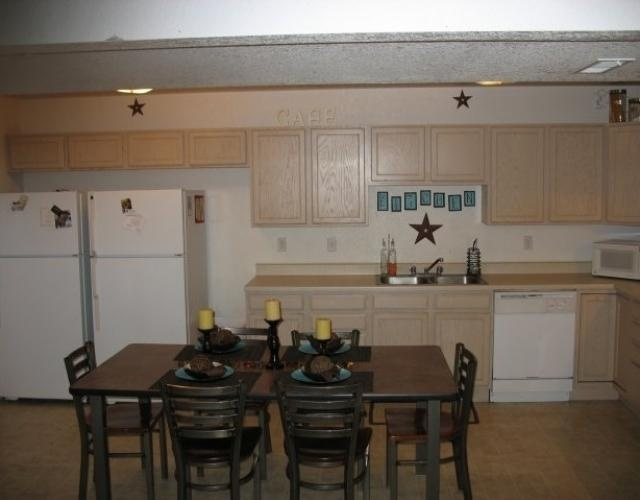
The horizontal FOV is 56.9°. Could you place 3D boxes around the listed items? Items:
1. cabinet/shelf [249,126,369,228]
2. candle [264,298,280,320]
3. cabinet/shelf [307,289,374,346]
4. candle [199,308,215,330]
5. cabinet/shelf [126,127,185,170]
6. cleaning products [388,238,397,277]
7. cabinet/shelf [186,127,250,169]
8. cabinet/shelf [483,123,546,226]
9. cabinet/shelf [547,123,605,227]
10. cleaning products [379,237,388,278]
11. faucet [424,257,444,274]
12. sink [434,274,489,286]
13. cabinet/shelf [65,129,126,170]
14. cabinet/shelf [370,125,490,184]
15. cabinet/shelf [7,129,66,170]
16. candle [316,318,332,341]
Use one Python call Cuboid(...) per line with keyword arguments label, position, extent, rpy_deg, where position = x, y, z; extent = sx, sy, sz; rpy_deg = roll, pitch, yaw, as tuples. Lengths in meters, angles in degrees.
Cuboid(label="cabinet/shelf", position=(-0.066, -0.607, 4.618), extent=(0.778, 0.634, 0.249), rpy_deg=(0, 5, 3))
Cuboid(label="candle", position=(-0.238, 0.307, 3.055), extent=(0.092, 0.101, 0.091), rpy_deg=(2, -1, -8))
Cuboid(label="cabinet/shelf", position=(0.150, 0.447, 4.092), extent=(0.423, 0.385, 0.148), rpy_deg=(0, 0, 1))
Cuboid(label="candle", position=(-0.614, 0.375, 3.177), extent=(0.080, 0.113, 0.090), rpy_deg=(-1, -2, -13))
Cuboid(label="cabinet/shelf", position=(-1.309, -0.809, 4.720), extent=(0.537, 0.334, 0.270), rpy_deg=(0, 2, 1))
Cuboid(label="cleaning products", position=(0.601, 0.052, 4.891), extent=(0.078, 0.314, 0.140), rpy_deg=(-2, -2, 7))
Cuboid(label="cabinet/shelf", position=(-0.806, -0.812, 4.671), extent=(0.527, 0.337, 0.266), rpy_deg=(0, 2, 2))
Cuboid(label="cabinet/shelf", position=(1.516, -0.588, 4.561), extent=(0.434, 0.730, 0.115), rpy_deg=(-2, -2, 0))
Cuboid(label="cabinet/shelf", position=(1.971, -0.588, 4.551), extent=(0.421, 0.726, 0.113), rpy_deg=(-2, -2, 1))
Cuboid(label="cleaning products", position=(0.534, 0.056, 4.874), extent=(0.074, 0.324, 0.164), rpy_deg=(-2, -2, 5))
Cuboid(label="faucet", position=(0.933, 0.118, 4.823), extent=(0.159, 0.122, 0.269), rpy_deg=(-2, -2, 11))
Cuboid(label="sink", position=(1.106, 0.226, 4.648), extent=(0.306, 0.079, 0.443), rpy_deg=(-1, -2, -5))
Cuboid(label="cabinet/shelf", position=(-1.807, -0.802, 4.764), extent=(0.528, 0.313, 0.267), rpy_deg=(0, 3, 1))
Cuboid(label="cabinet/shelf", position=(0.862, -0.742, 4.682), extent=(0.899, 0.439, 0.294), rpy_deg=(1, 0, 8))
Cuboid(label="cabinet/shelf", position=(-2.279, -0.796, 4.770), extent=(0.525, 0.336, 0.266), rpy_deg=(0, 2, -2))
Cuboid(label="candle", position=(0.010, 0.412, 3.103), extent=(0.100, 0.111, 0.101), rpy_deg=(3, 2, 28))
